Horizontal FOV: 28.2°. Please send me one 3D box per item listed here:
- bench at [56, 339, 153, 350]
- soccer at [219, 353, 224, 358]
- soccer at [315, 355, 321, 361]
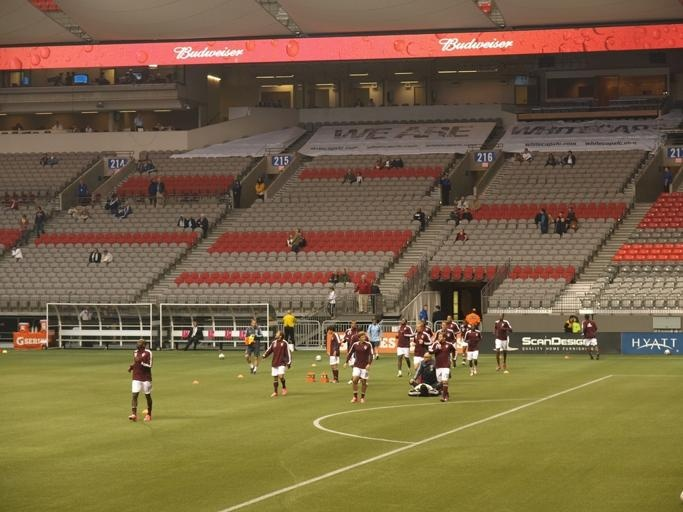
[{"bbox_3d":[-12.074,4.525,69.241,5.345,0.731,1.162,0,-10,-1],"label":"bench"},{"bbox_3d":[-5.849,4.841,65.785,0.244,0.155,0.312,0,-3,-5],"label":"soccer"},{"bbox_3d":[-1.137,4.935,65.102,0.229,0.163,0.161,-9,10,-23],"label":"soccer"}]
